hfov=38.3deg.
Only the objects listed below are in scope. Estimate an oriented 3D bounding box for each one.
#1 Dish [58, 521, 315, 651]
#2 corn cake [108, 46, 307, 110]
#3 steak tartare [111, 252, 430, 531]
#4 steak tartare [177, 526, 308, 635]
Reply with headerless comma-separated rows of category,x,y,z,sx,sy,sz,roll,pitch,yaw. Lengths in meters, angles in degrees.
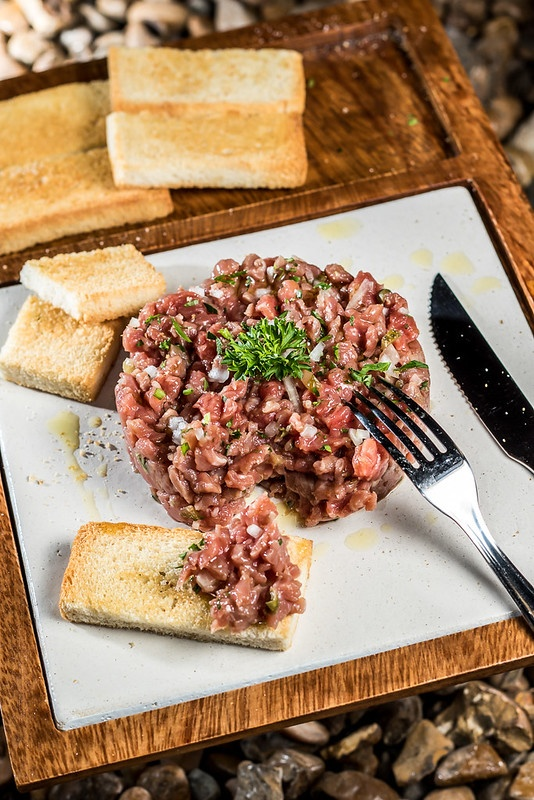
Dish,-0.232,0.519,2.216,0.670,0.087,0.306,6,49,-2
corn cake,-0.214,-1.165,2.782,0.765,0.160,0.280,0,69,-1
steak tartare,-0.019,0.005,2.330,0.849,0.358,0.767,1,69,-1
steak tartare,-0.071,0.467,1.987,0.318,0.172,0.260,-6,68,-6
